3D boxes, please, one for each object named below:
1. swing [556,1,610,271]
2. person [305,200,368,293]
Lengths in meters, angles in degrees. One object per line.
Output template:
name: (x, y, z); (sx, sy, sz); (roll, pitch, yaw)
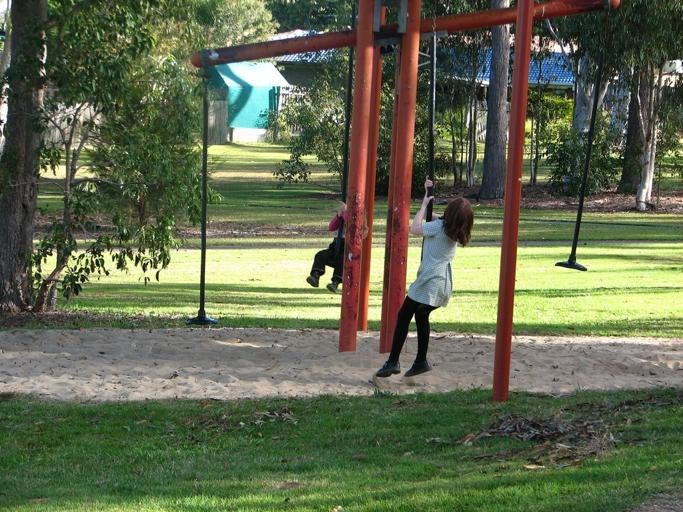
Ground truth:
swing: (8.397, -3.962, 46.688); (1.148, 10.383, 0.938); (6, 11, 36)
person: (-0.095, -0.209, 26.016); (0.655, 1.842, 0.978); (8, -5, 40)
